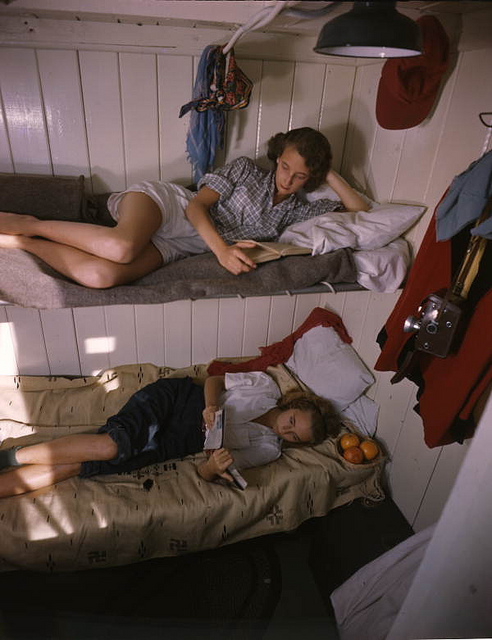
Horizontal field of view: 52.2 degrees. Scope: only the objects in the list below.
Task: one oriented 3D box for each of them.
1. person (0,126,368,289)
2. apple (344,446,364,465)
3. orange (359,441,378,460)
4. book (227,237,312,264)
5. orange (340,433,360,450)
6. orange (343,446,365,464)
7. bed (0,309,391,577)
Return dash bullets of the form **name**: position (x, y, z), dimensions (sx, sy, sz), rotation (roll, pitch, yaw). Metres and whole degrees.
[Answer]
- **person**: position (-0.159, -0.254, 1.548), dimensions (0.917, 0.296, 0.565), rotation (-7, 48, -14)
- **apple**: position (0.325, 0.414, 1.520), dimensions (0.050, 0.049, 0.047), rotation (-11, 54, 15)
- **orange**: position (0.377, 0.404, 1.551), dimensions (0.051, 0.049, 0.051), rotation (37, 87, 10)
- **book**: position (0.078, -0.197, 1.478), dimensions (0.217, 0.046, 0.100), rotation (-11, 32, -27)
- **orange**: position (0.323, 0.377, 1.560), dimensions (0.052, 0.043, 0.048), rotation (-5, 14, 3)
- **orange**: position (0.323, 0.414, 1.523), dimensions (0.057, 0.052, 0.048), rotation (-6, 52, 2)
- **bed**: position (-0.081, 0.367, 1.449), dimensions (1.019, 0.313, 0.571), rotation (-5, 60, -20)
